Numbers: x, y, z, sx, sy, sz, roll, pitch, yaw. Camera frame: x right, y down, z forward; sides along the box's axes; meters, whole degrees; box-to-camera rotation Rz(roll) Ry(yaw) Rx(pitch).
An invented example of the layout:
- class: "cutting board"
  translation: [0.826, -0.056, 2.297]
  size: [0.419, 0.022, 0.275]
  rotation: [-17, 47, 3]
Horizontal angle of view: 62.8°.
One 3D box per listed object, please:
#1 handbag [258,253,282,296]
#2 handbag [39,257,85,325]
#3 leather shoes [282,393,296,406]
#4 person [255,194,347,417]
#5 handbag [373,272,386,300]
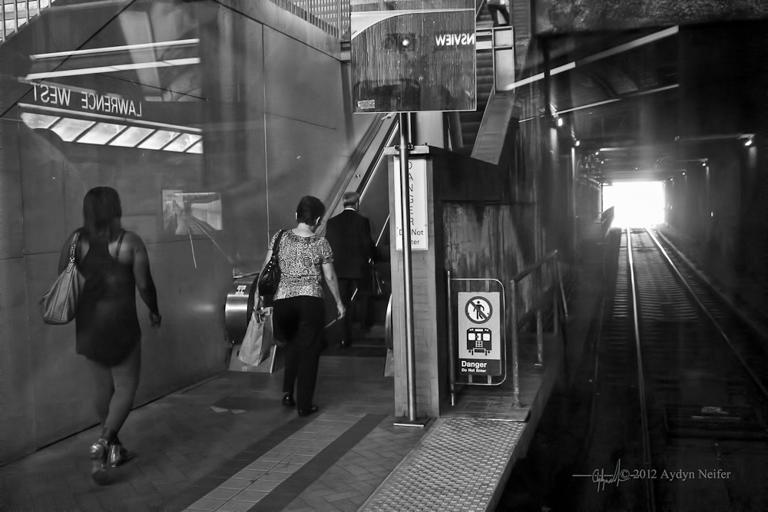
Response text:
- class: "handbag"
  translation: [-1.289, 0.230, 7.156]
  size: [0.199, 0.524, 0.507]
  rotation: [9, 4, 3]
- class: "handbag"
  translation: [-3.053, 0.346, 5.978]
  size: [0.346, 0.701, 0.118]
  rotation: [24, 3, 0]
- class: "leather shoes"
  translation: [-1.114, 1.693, 7.476]
  size: [0.079, 0.190, 0.187]
  rotation: [2, 7, 12]
- class: "person"
  translation: [-0.906, 0.568, 7.114]
  size: [0.822, 2.455, 0.420]
  rotation: [-1, 7, 0]
- class: "handbag"
  translation: [-0.084, 0.425, 9.331]
  size: [0.083, 0.341, 0.353]
  rotation: [4, 2, 8]
